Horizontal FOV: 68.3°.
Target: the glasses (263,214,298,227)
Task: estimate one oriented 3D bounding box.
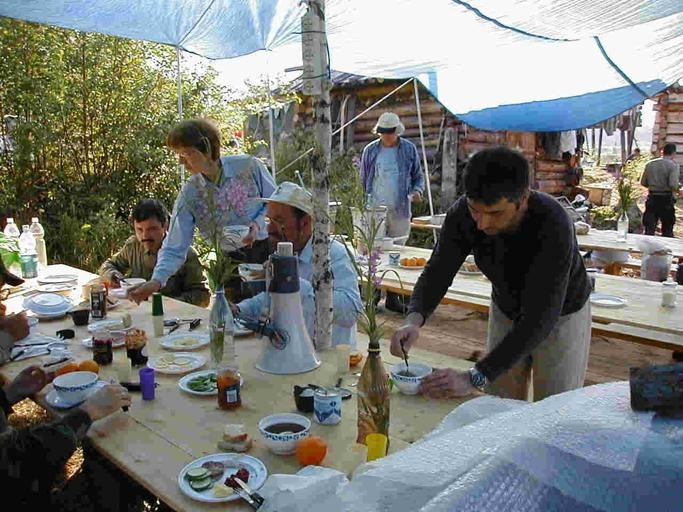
[{"bbox_3d":[-0.355,-0.214,3.011,0.155,0.050,0.149,1,2,-41],"label":"glasses"}]

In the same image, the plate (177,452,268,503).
[{"bbox_3d":[-0.406,0.738,1.715,0.190,0.112,0.259,9,7,43],"label":"plate"}]

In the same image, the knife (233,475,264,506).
[{"bbox_3d":[-0.293,0.752,1.615,0.044,0.018,0.197,-10,18,-26],"label":"knife"}]

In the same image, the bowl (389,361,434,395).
[{"bbox_3d":[0.328,0.605,2.401,0.180,0.092,0.178,2,-5,0],"label":"bowl"}]

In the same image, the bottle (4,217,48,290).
[{"bbox_3d":[-2.974,-0.053,4.791,0.392,0.788,0.399,2,11,0],"label":"bottle"}]

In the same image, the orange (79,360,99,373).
[{"bbox_3d":[-1.268,0.552,2.517,0.080,0.079,0.078,11,-12,-33],"label":"orange"}]

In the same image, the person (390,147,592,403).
[{"bbox_3d":[0.773,0.097,2.663,0.624,1.529,0.863,2,3,44],"label":"person"}]

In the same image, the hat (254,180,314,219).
[{"bbox_3d":[-0.266,-0.363,3.075,0.317,0.220,0.208,3,14,16],"label":"hat"}]

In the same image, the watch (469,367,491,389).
[{"bbox_3d":[0.634,0.562,2.283,0.077,0.093,0.036,-24,7,-12],"label":"watch"}]

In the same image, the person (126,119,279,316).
[{"bbox_3d":[-0.968,-0.408,3.919,0.897,1.656,0.861,-4,13,-37],"label":"person"}]

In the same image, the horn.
[{"bbox_3d":[-0.277,0.254,2.544,0.317,0.600,0.332,10,17,39],"label":"horn"}]

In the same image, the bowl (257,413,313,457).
[{"bbox_3d":[-0.215,0.655,1.940,0.169,0.121,0.194,-4,9,-28],"label":"bowl"}]

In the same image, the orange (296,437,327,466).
[{"bbox_3d":[-0.106,0.695,1.834,0.100,0.095,0.097,5,48,-27],"label":"orange"}]

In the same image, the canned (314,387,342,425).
[{"bbox_3d":[-0.054,0.629,2.138,0.117,0.137,0.122,3,5,16],"label":"canned"}]

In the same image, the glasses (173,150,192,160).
[{"bbox_3d":[-1.242,-0.782,3.914,0.077,0.062,0.172,-6,9,-40],"label":"glasses"}]

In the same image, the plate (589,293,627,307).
[{"bbox_3d":[2.085,0.341,3.881,0.242,0.050,0.418,4,8,36],"label":"plate"}]
